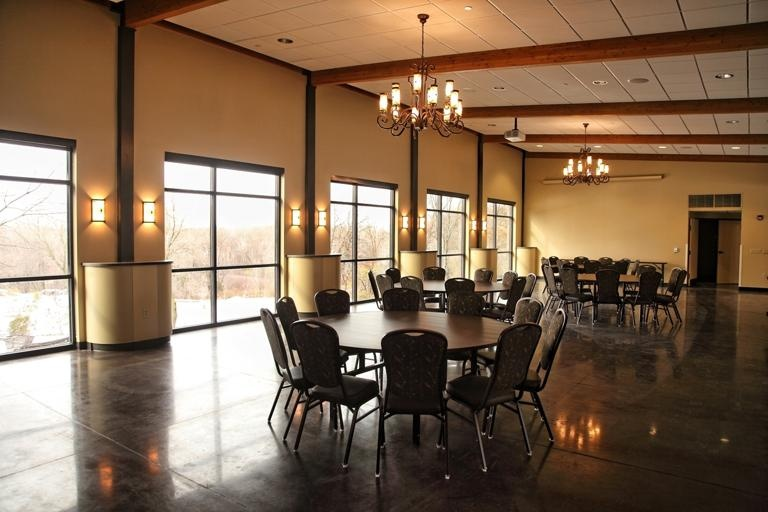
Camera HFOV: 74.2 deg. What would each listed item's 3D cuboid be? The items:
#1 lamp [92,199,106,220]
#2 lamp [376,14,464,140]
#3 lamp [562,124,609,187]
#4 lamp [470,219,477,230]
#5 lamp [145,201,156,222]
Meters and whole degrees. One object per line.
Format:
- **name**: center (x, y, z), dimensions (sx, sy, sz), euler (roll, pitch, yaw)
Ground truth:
- **lamp**: center (-4.466, -0.709, 7.980), dimensions (0.103, 0.276, 0.275), euler (2, -2, 34)
- **lamp**: center (0.572, -2.750, 7.615), dimensions (1.291, 1.689, 1.279), euler (1, 10, 1)
- **lamp**: center (5.815, -2.981, 14.713), dimensions (1.248, 1.763, 1.358), euler (0, 6, 34)
- **lamp**: center (2.859, -0.996, 16.257), dimensions (0.111, 0.329, 0.345), euler (-2, -3, 30)
- **lamp**: center (-3.908, -0.732, 8.508), dimensions (0.090, 0.367, 0.244), euler (6, 12, 29)
